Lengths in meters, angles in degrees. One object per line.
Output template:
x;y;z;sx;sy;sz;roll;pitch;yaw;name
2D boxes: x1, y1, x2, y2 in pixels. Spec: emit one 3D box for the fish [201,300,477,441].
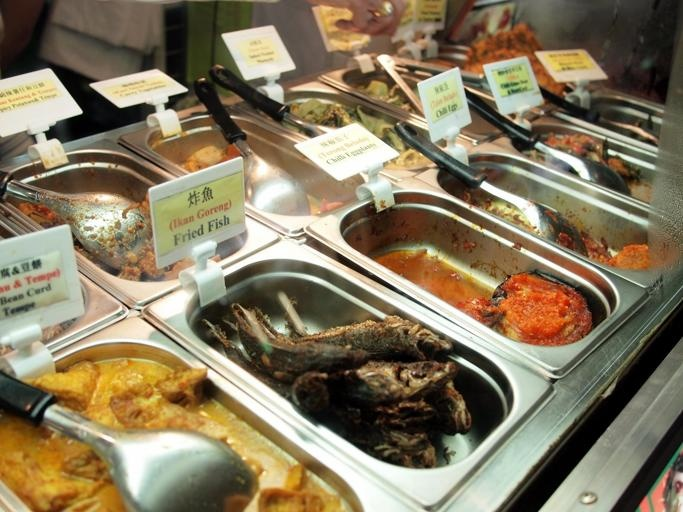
0.016;0.252;1.281;0.505;0.309;0.206;37;64;2;fish
